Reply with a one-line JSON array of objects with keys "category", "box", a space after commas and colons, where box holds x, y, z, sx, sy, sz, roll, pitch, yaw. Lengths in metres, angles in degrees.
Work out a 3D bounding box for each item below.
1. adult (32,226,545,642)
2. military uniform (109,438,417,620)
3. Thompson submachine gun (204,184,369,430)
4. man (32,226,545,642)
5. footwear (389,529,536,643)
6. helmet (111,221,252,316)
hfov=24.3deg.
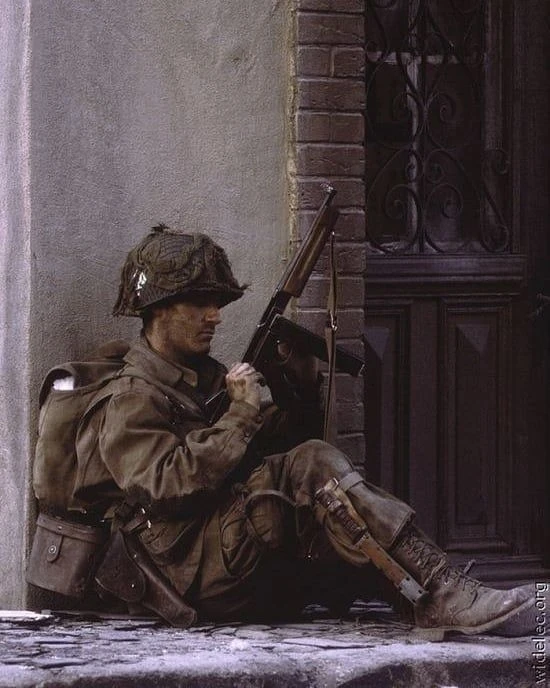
[{"category": "adult", "box": [-0.003, 0.368, 4.879, 1.763, 1.638, 0.981, -1, -4, -2]}, {"category": "military uniform", "box": [0.161, 0.565, 4.409, 1.209, 0.548, 0.611, -4, -2, 43]}, {"category": "Thompson submachine gun", "box": [0.031, -0.116, 4.497, 0.390, 0.867, 0.090, 26, 0, -17]}, {"category": "man", "box": [0.027, 0.371, 4.855, 1.763, 1.638, 0.981, -1, -4, -2]}, {"category": "footwear", "box": [0.615, 0.771, 4.084, 0.208, 0.307, 0.607, -9, -11, -33]}, {"category": "helmet", "box": [-0.344, -0.266, 4.485, 0.385, 0.321, 0.520, -6, 4, -36]}]
